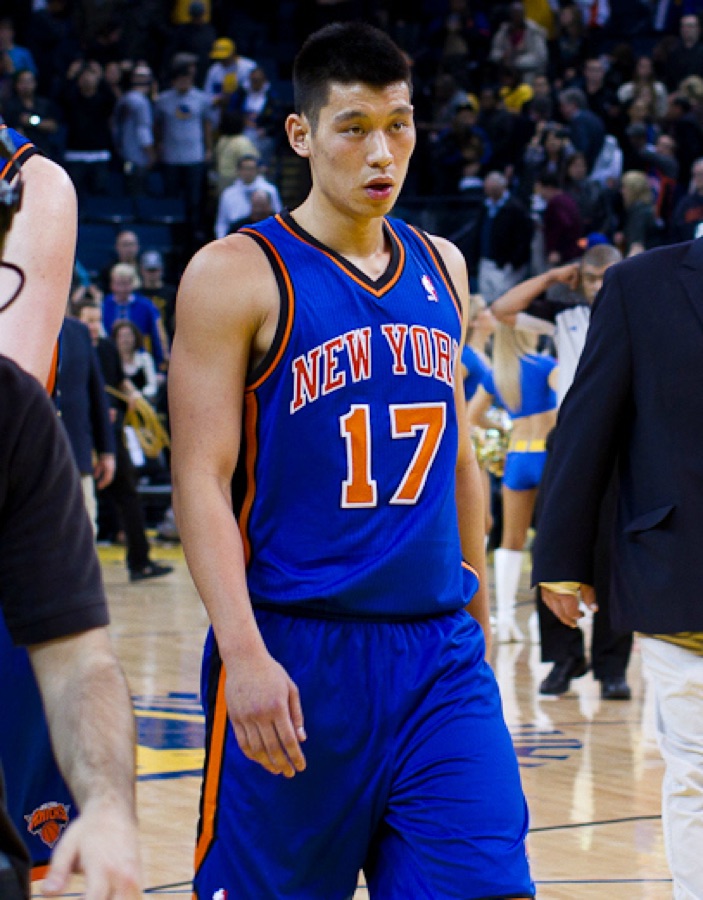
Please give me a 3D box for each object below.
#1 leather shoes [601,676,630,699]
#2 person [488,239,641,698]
[{"bbox_3d":[1.170,1.067,5.488,0.129,0.139,0.096,-2,3,4],"label":"leather shoes"},{"bbox_3d":[1.146,0.017,5.804,0.675,2.146,0.533,0,16,23],"label":"person"}]
